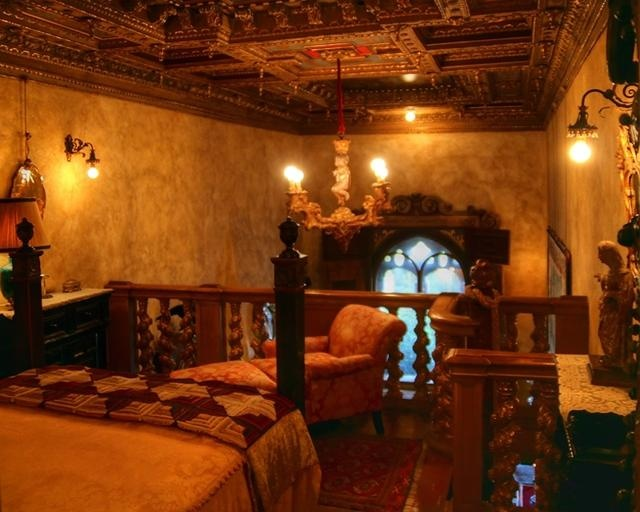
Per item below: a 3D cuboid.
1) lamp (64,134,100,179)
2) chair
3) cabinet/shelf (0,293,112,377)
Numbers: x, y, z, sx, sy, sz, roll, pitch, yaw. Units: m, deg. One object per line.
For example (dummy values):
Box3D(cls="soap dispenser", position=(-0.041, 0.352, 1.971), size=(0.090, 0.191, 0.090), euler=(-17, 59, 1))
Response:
Box3D(cls="lamp", position=(-2.704, -1.120, 6.090), size=(0.340, 0.502, 0.567), euler=(-6, 11, -22))
Box3D(cls="chair", position=(0.015, 0.835, 4.492), size=(1.120, 0.988, 0.961), euler=(2, -4, -32))
Box3D(cls="cabinet/shelf", position=(-2.219, 0.640, 4.476), size=(0.321, 0.749, 0.826), euler=(2, 6, 19))
